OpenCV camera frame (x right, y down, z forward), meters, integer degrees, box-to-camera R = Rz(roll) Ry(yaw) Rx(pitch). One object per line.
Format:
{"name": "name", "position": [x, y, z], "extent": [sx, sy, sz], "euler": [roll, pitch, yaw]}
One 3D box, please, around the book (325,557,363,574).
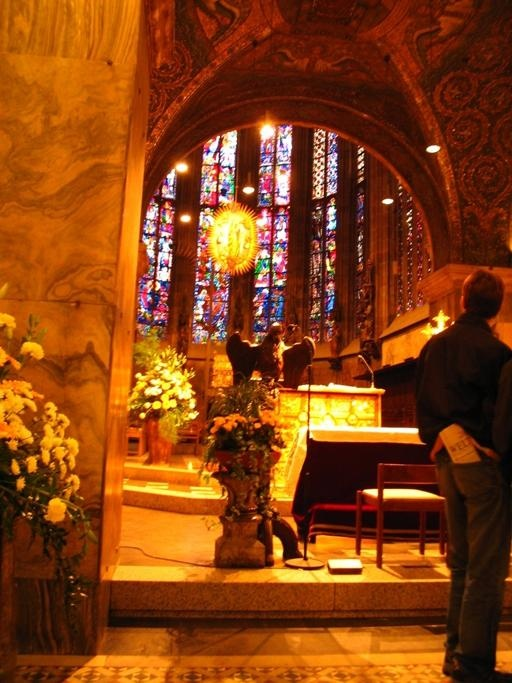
{"name": "book", "position": [0.458, 1.172, 4.065], "extent": [0.178, 0.066, 0.196], "euler": [4, -9, -6]}

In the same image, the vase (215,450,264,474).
{"name": "vase", "position": [-0.099, 0.657, 4.254], "extent": [0.192, 0.074, 0.172], "euler": [-5, -14, 24]}

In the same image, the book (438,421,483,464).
{"name": "book", "position": [0.804, 0.409, 3.098], "extent": [0.039, 0.160, 0.187], "euler": [14, -13, -43]}

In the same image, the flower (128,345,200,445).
{"name": "flower", "position": [-1.040, 0.556, 8.554], "extent": [0.696, 1.090, 0.803], "euler": [8, -10, -24]}

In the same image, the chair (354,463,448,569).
{"name": "chair", "position": [0.831, 0.959, 4.376], "extent": [0.514, 0.442, 0.521], "euler": [-11, -19, 36]}

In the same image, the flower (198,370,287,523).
{"name": "flower", "position": [-0.064, 0.591, 4.423], "extent": [0.443, 0.765, 0.466], "euler": [5, -9, -3]}

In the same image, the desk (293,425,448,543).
{"name": "desk", "position": [0.659, 0.892, 4.926], "extent": [0.918, 0.567, 0.830], "euler": [1, -9, 0]}
